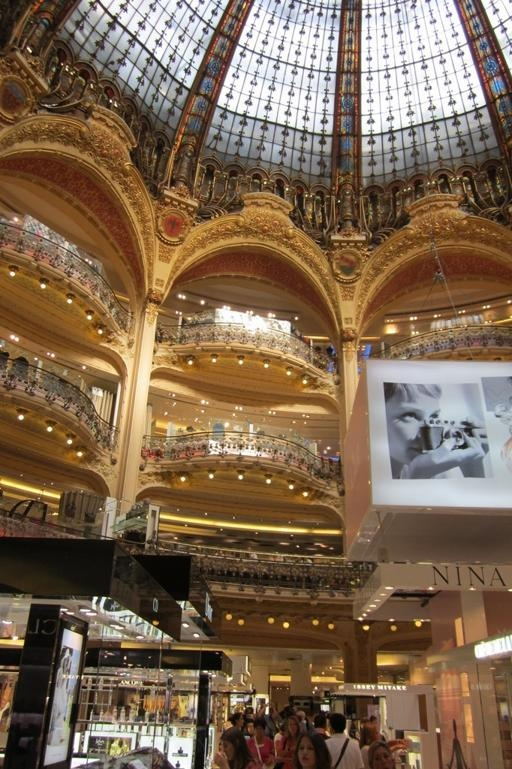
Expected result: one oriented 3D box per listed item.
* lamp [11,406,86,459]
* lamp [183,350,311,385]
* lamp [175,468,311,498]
[{"bbox_3d":[-7.579,1.908,18.660,2.130,0.831,2.850,-23,-39,37],"label":"lamp"},{"bbox_3d":[-0.518,-0.652,24.252,5.718,0.901,2.352,8,-31,-8],"label":"lamp"},{"bbox_3d":[-0.567,4.312,22.562,5.714,1.106,2.184,8,-31,-9],"label":"lamp"}]
